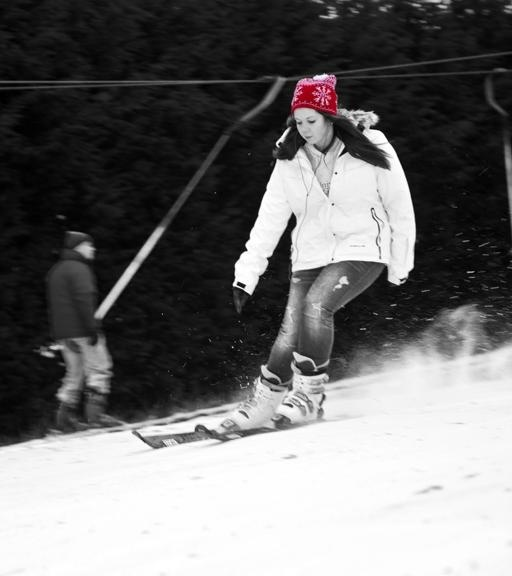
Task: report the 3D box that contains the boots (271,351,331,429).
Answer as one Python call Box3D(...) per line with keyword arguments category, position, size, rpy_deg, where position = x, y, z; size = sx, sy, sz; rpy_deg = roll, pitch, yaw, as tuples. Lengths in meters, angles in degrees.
Box3D(category="boots", position=(0.168, 0.401, 3.005), size=(0.148, 0.245, 0.324), rpy_deg=(8, -2, 26))

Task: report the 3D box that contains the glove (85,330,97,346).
Box3D(category="glove", position=(-0.739, 0.235, 3.602), size=(0.047, 0.075, 0.020), rpy_deg=(-11, 14, -10))

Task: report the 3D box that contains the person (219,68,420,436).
Box3D(category="person", position=(0.175, -0.134, 2.987), size=(0.834, 1.306, 0.394), rpy_deg=(-10, 14, -7))

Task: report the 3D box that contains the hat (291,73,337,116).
Box3D(category="hat", position=(0.227, -0.715, 2.932), size=(0.185, 0.136, 0.173), rpy_deg=(2, -6, 7))
